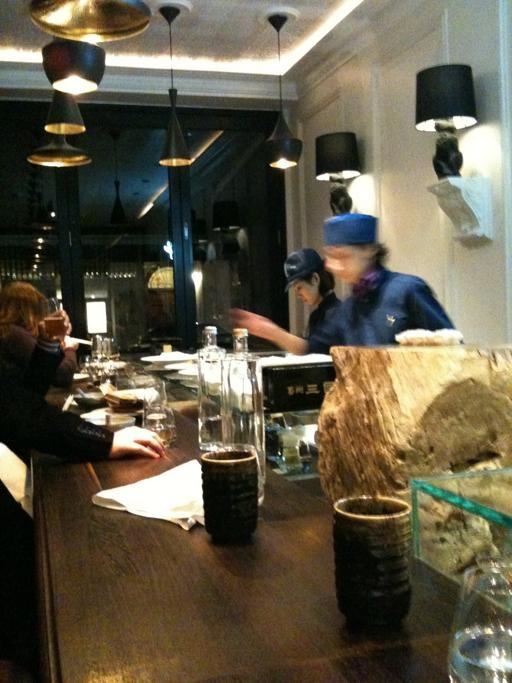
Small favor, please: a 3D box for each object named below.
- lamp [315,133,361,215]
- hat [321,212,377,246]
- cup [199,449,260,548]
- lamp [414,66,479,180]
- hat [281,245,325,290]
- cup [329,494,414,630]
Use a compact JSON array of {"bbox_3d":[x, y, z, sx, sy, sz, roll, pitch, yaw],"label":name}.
[{"bbox_3d":[0.662,-1.344,4.460,0.362,0.479,0.425,-4,2,7],"label":"lamp"},{"bbox_3d":[0.385,-0.481,2.455,0.185,0.103,0.180,-9,10,-43],"label":"hat"},{"bbox_3d":[-0.033,0.207,0.784,0.073,0.105,0.120,-1,3,-3],"label":"cup"},{"bbox_3d":[1.047,-1.174,3.044,0.326,0.395,0.390,-3,2,17],"label":"lamp"},{"bbox_3d":[0.303,-0.429,3.287,0.250,0.144,0.181,-35,18,-19],"label":"hat"},{"bbox_3d":[0.106,0.199,0.500,0.069,0.083,0.077,-4,2,-19],"label":"cup"}]
